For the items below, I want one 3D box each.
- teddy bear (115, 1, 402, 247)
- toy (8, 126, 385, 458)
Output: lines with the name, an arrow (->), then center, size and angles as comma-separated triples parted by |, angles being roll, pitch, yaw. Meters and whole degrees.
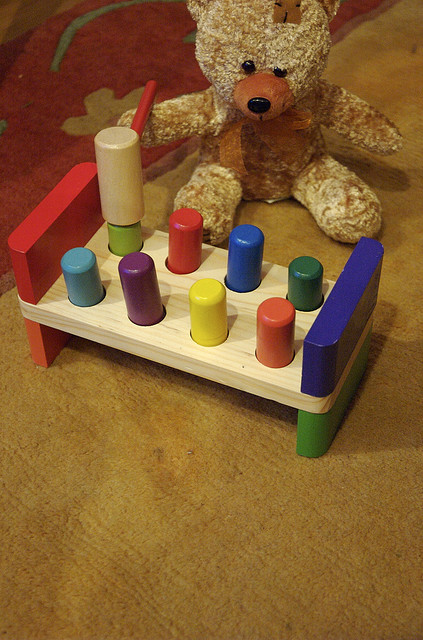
teddy bear -> 0.101, -0.323, 0.946 | 0.491, 0.375, 0.277 | -9, 43, -9
toy -> -0.015, -0.060, 0.741 | 0.449, 0.324, 0.263 | 18, 46, 20
